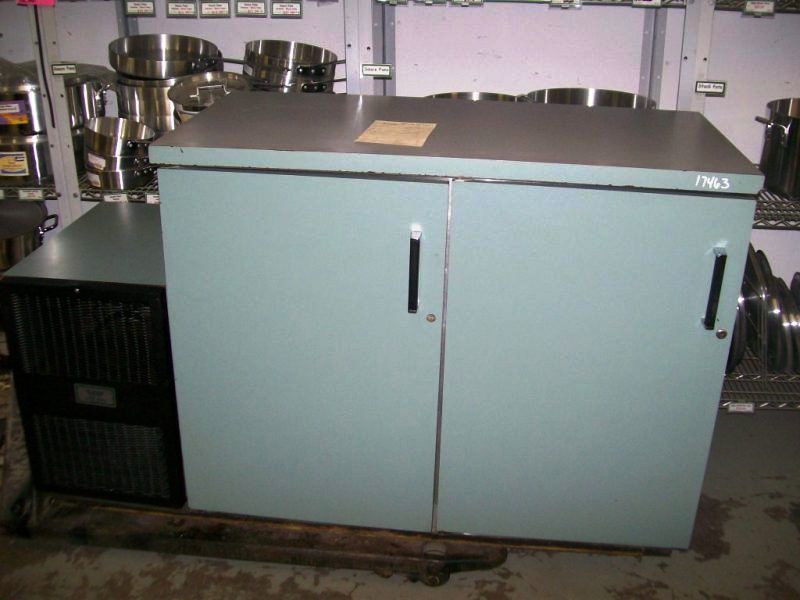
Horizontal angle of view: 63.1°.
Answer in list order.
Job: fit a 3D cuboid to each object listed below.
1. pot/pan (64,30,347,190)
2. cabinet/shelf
[{"bbox_3d":[-0.735,-0.818,2.778,1.369,0.496,0.583,4,22,10],"label":"pot/pan"},{"bbox_3d":[0.153,0.016,2.319,1.646,1.232,0.901,2,22,2],"label":"cabinet/shelf"}]
